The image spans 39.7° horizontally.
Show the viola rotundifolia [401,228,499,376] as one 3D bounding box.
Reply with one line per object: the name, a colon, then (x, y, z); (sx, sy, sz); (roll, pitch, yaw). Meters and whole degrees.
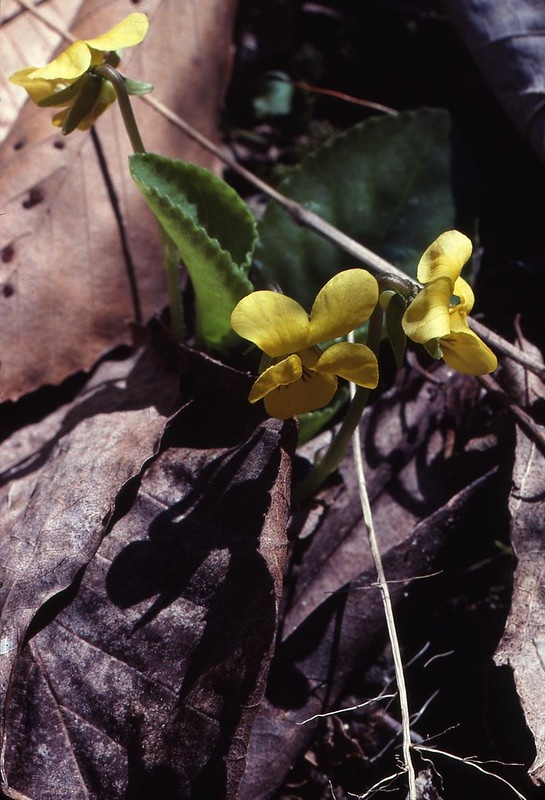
viola rotundifolia: (0.322, -0.179, 1.444); (0.115, 0.290, 0.259); (-45, 76, -2)
